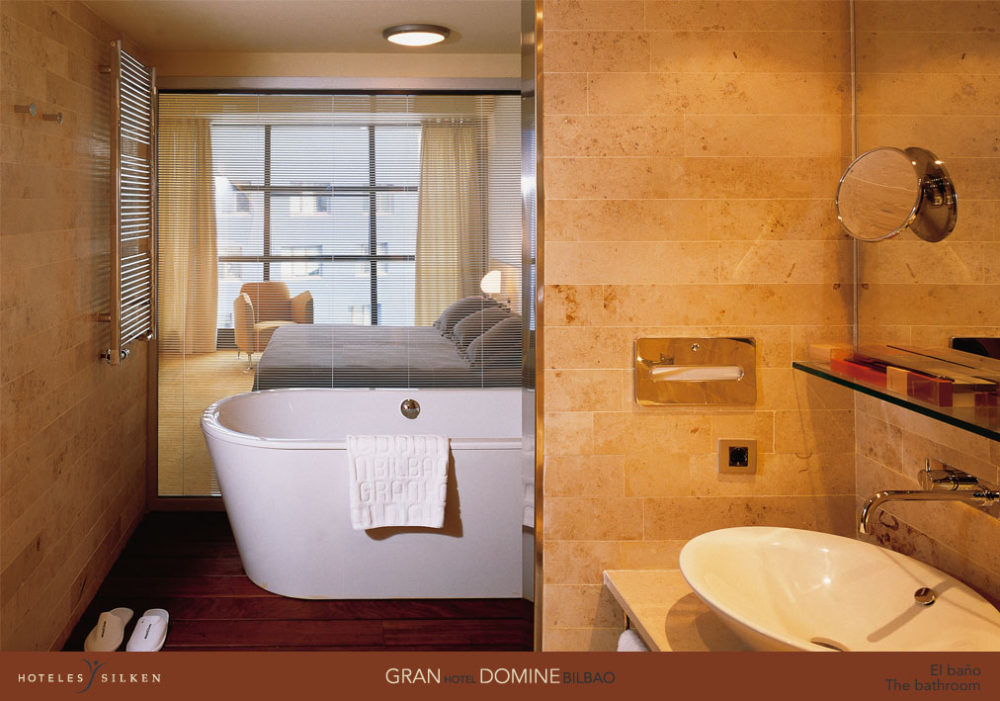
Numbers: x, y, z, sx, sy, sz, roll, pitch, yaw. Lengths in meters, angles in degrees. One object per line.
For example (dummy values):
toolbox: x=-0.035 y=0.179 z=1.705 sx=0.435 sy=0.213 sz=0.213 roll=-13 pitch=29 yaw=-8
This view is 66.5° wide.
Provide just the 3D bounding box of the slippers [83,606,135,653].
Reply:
slippers: x=-1.465 y=1.030 z=2.857 sx=0.132 sy=0.074 sz=0.242 roll=10 pitch=18 yaw=-6

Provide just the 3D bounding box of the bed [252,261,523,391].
bed: x=-0.522 y=-0.137 z=3.828 sx=1.162 sy=0.436 sz=0.615 roll=2 pitch=8 yaw=-1

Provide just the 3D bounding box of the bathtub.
bathtub: x=-0.614 y=0.596 z=3.403 sx=1.427 sy=0.718 sz=0.816 roll=1 pitch=8 yaw=-1

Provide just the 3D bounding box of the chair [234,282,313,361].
chair: x=-1.102 y=-0.148 z=3.691 sx=0.351 sy=0.321 sz=0.276 roll=-3 pitch=15 yaw=-29

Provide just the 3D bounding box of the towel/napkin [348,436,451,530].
towel/napkin: x=-0.406 y=0.521 z=3.010 sx=0.439 sy=0.334 sz=0.071 roll=0 pitch=-3 yaw=-3

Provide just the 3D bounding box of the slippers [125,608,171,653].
slippers: x=-1.301 y=1.022 z=2.836 sx=0.143 sy=0.055 sz=0.305 roll=8 pitch=13 yaw=-15

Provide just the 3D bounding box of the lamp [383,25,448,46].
lamp: x=-0.360 y=-1.370 z=3.319 sx=0.263 sy=0.064 sz=0.212 roll=4 pitch=8 yaw=18

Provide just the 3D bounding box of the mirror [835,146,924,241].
mirror: x=1.006 y=-0.419 z=2.086 sx=0.235 sy=0.218 sz=0.244 roll=1 pitch=3 yaw=44

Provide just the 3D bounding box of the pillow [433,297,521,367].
pillow: x=-0.106 y=-0.089 z=3.709 sx=0.431 sy=0.347 sz=0.128 roll=2 pitch=8 yaw=5
